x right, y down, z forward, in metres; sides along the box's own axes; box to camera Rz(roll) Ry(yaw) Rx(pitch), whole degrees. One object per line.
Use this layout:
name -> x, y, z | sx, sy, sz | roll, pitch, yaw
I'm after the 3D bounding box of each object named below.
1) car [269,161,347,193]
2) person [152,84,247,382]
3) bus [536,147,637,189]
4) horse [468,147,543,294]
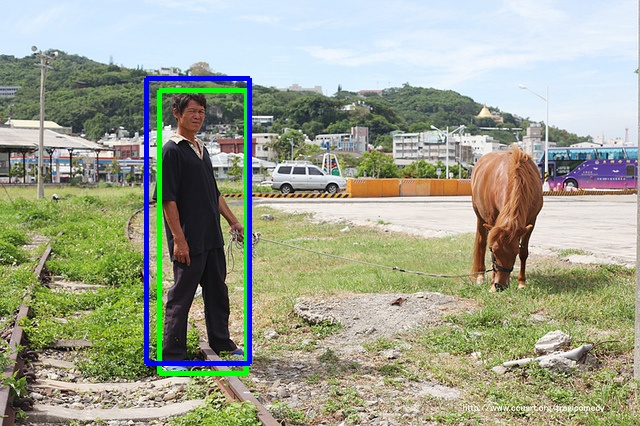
car -> -0.745, -2.179, 36.445 | 4.610, 2.126, 2.387 | -1, 5, -4
person -> -1.411, 0.168, 6.466 | 0.709, 3.142, 1.101 | 9, 16, 40
bus -> 18.991, -3.151, 40.189 | 5.332, 3.223, 1.075 | 8, 15, 35
horse -> 3.113, -0.080, 9.751 | 0.904, 2.295, 3.583 | -2, 14, 11
